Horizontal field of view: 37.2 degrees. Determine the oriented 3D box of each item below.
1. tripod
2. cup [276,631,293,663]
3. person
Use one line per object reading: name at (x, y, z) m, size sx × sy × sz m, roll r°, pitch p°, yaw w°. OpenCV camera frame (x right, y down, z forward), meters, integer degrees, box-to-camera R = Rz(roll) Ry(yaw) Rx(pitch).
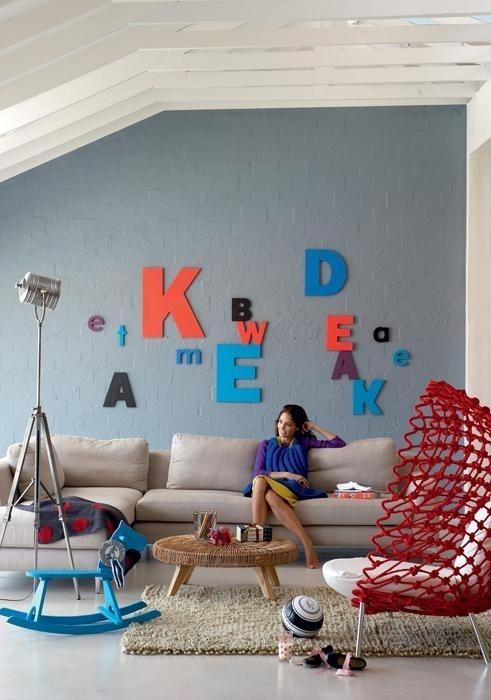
tripod at (-1.176, 0.362, 4.206) m, size 0.397 × 1.670 × 1.799 m, roll 0°, pitch 10°, yaw -14°
cup at (0.142, 1.130, 2.778) m, size 0.075 × 0.104 × 0.070 m, roll 0°, pitch -8°, yaw 0°
person at (0.236, 0.788, 4.521) m, size 0.651 × 0.659 × 1.205 m, roll 2°, pitch 8°, yaw 11°
